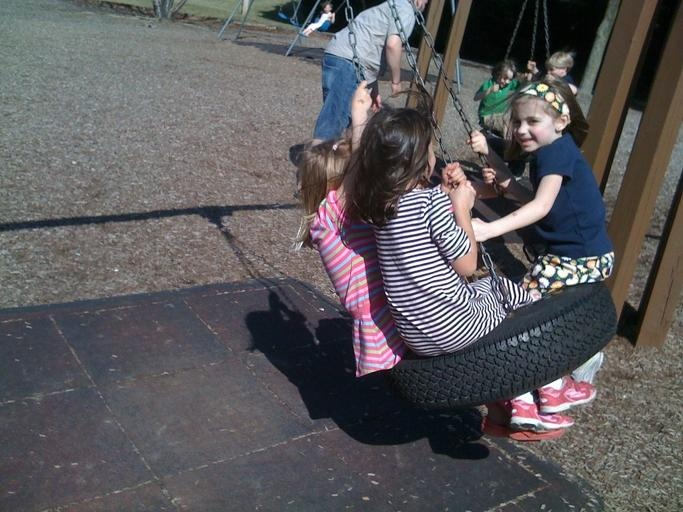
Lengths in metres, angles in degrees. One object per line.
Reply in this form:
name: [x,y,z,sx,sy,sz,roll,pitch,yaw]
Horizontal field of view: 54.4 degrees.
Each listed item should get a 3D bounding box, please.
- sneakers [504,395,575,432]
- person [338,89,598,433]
sneakers: [0.939,0.749,3.271,0.372,0.183,0.132,-2,6,-23]
person: [0.399,-0.095,2.927,0.852,0.984,0.477,17,28,15]
